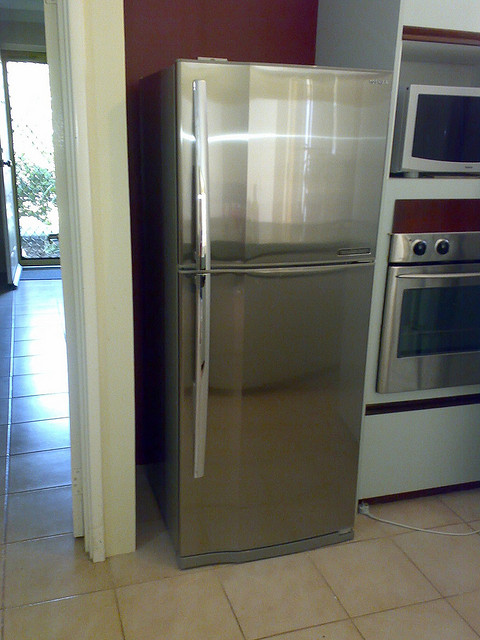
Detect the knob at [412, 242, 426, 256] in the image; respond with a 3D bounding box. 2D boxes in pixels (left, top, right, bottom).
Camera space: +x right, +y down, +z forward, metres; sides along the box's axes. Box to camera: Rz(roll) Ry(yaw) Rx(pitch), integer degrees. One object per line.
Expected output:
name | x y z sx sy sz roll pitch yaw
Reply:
knob | 0.606 -0.244 1.812 0.034 0.045 0.015 -7 24 -17
